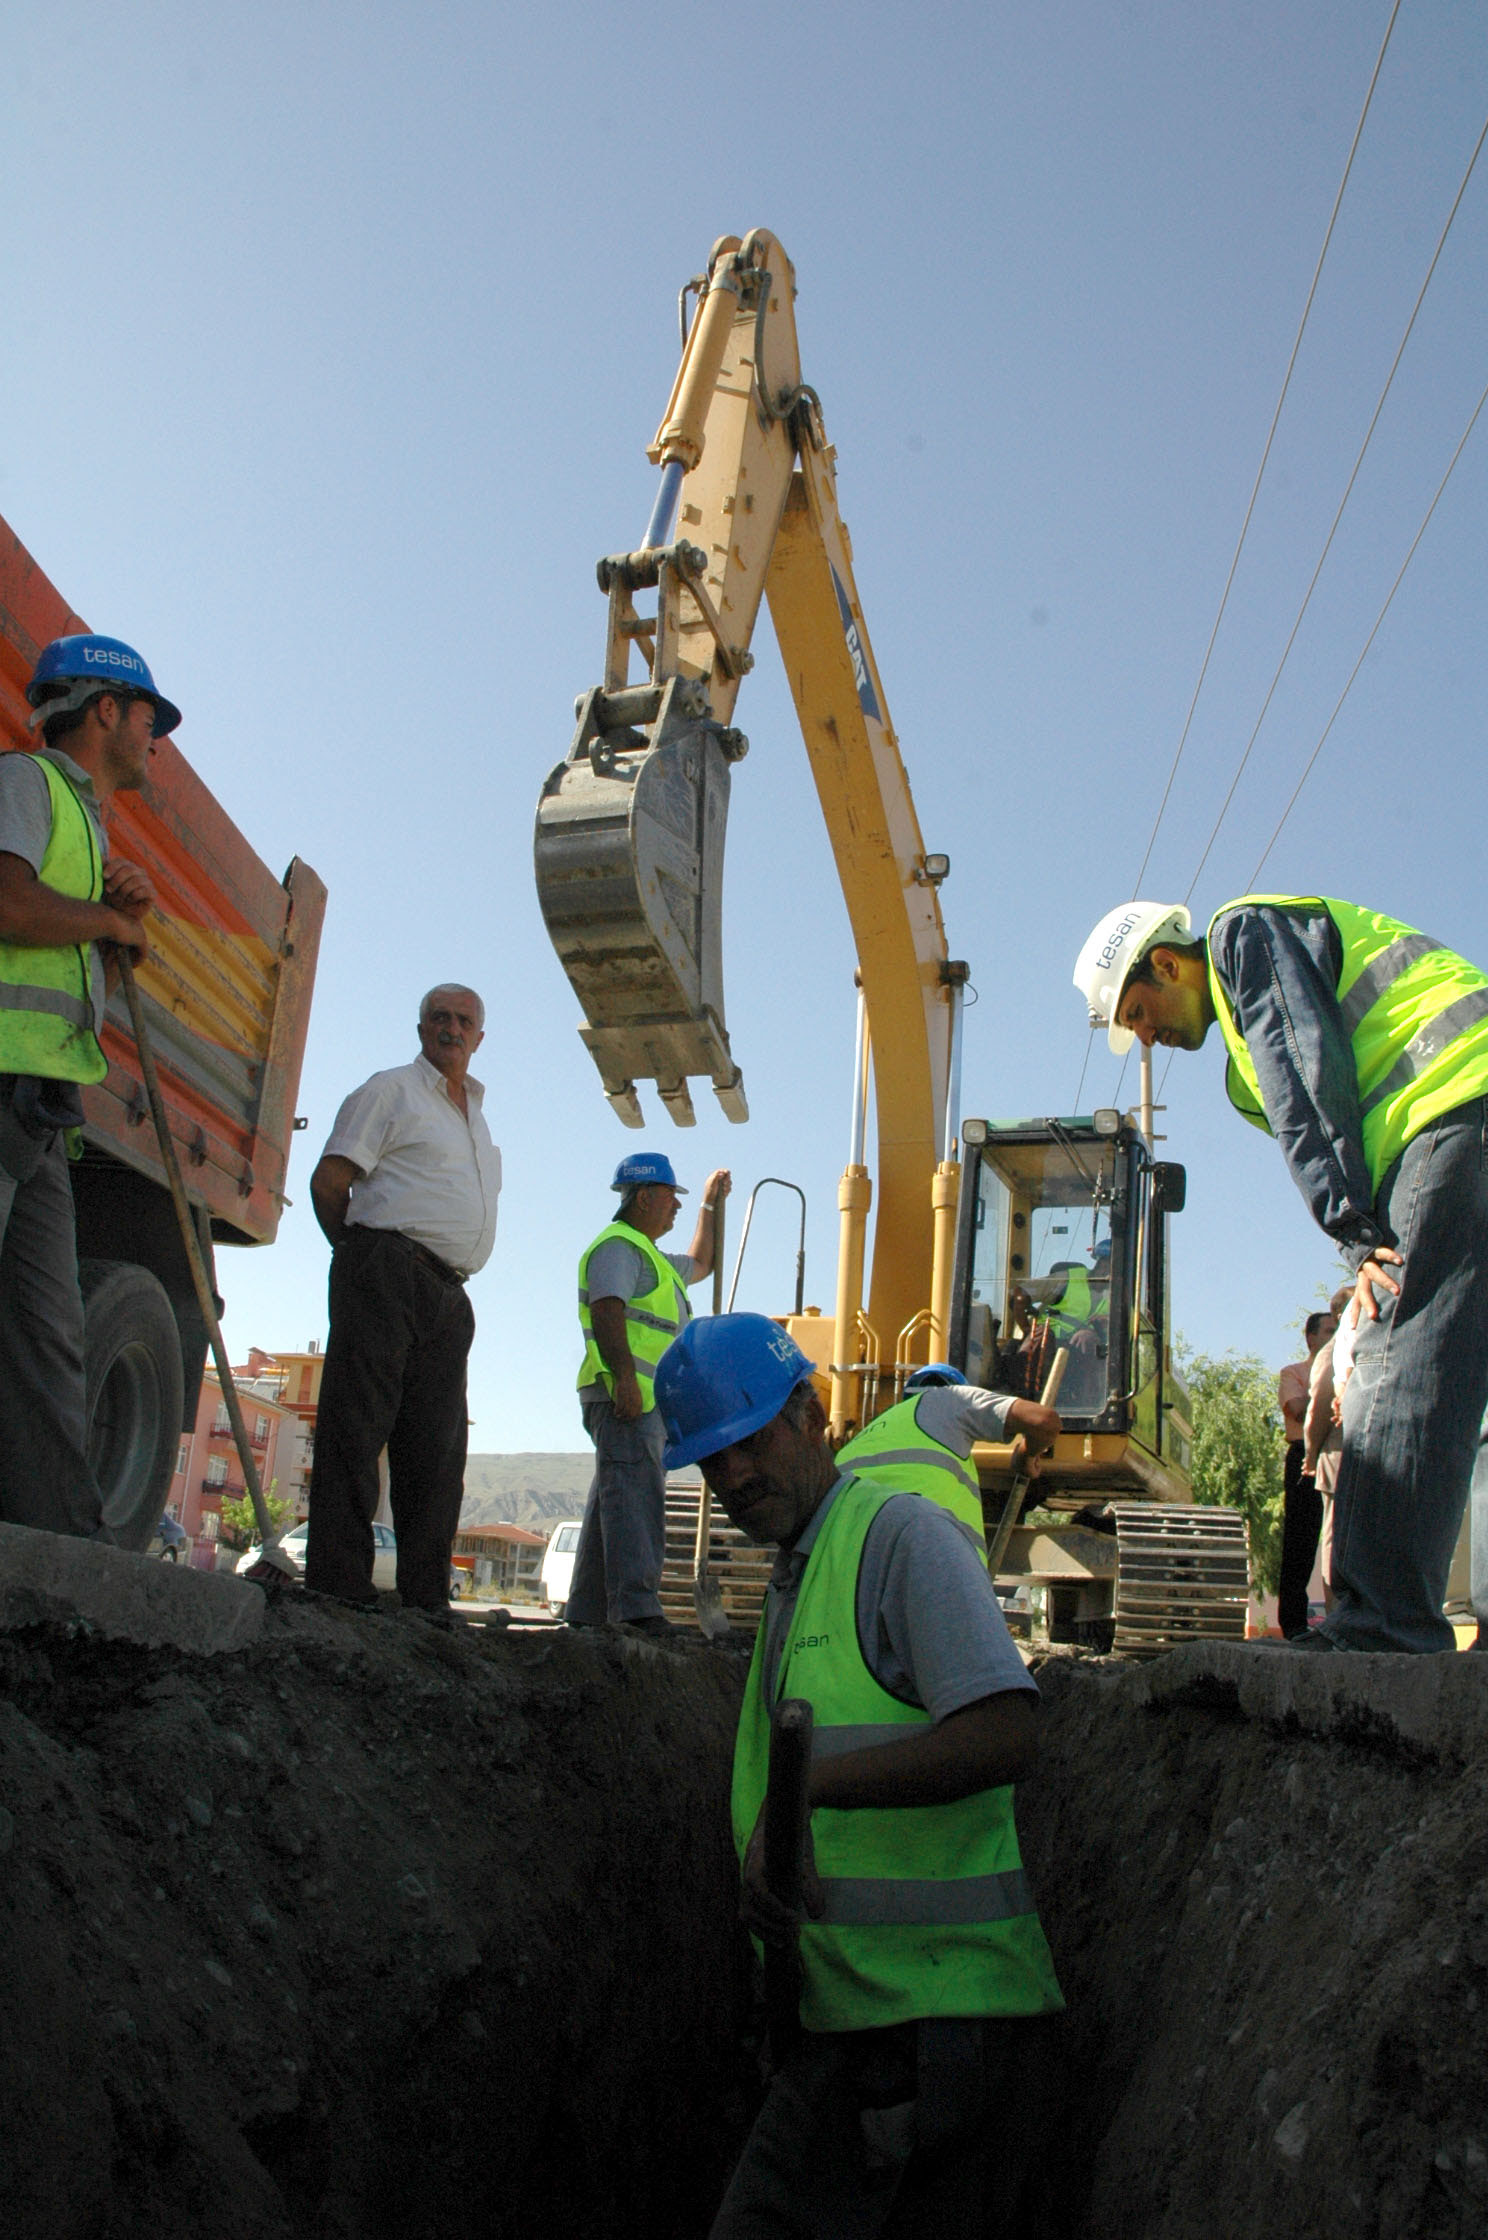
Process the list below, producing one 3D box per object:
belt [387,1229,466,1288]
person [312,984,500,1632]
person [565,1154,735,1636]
[{"bbox_3d":[-0.961,0.427,4.434,0.257,0.093,0.196,33,3,30],"label":"belt"},{"bbox_3d":[-1.044,0.491,4.500,0.380,1.934,0.680,1,-9,13],"label":"person"},{"bbox_3d":[-0.286,0.880,5.147,0.734,1.819,0.630,2,-3,-18],"label":"person"}]
